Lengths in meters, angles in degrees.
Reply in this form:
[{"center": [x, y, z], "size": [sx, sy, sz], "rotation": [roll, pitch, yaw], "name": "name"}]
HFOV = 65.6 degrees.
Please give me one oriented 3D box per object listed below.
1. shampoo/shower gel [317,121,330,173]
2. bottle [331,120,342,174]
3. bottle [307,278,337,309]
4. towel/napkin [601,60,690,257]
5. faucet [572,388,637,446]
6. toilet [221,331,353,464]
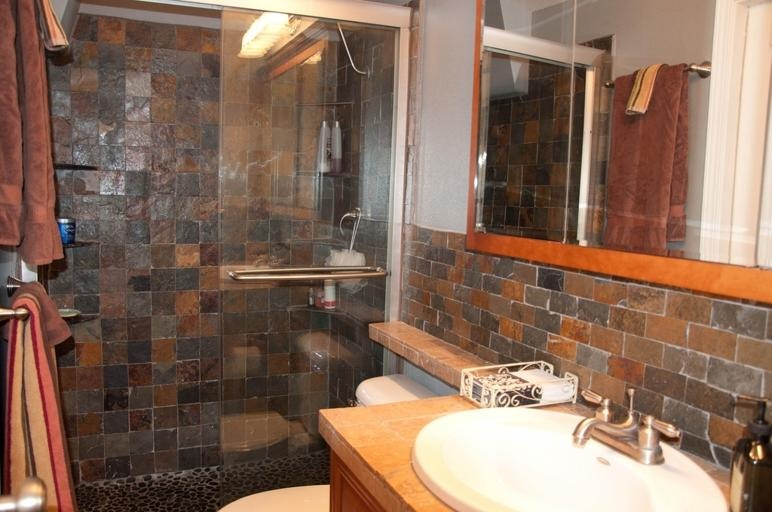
[{"center": [-0.314, -0.550, 3.020], "size": [0.073, 0.261, 0.026], "rotation": [-2, 7, -6], "name": "shampoo/shower gel"}, {"center": [-0.251, -0.555, 3.035], "size": [0.054, 0.258, 0.021], "rotation": [-1, 7, -4], "name": "bottle"}, {"center": [-0.330, 0.205, 3.110], "size": [0.152, 0.158, 0.022], "rotation": [-4, 7, -24], "name": "bottle"}, {"center": [0.848, -0.308, 1.924], "size": [0.049, 0.599, 0.264], "rotation": [-6, 8, -38], "name": "towel/napkin"}, {"center": [0.654, 0.489, 1.857], "size": [0.228, 0.133, 0.154], "rotation": [5, -3, -38], "name": "faucet"}, {"center": [-0.530, 0.693, 2.973], "size": [0.659, 0.618, 0.336], "rotation": [-4, 12, -25], "name": "toilet"}]
